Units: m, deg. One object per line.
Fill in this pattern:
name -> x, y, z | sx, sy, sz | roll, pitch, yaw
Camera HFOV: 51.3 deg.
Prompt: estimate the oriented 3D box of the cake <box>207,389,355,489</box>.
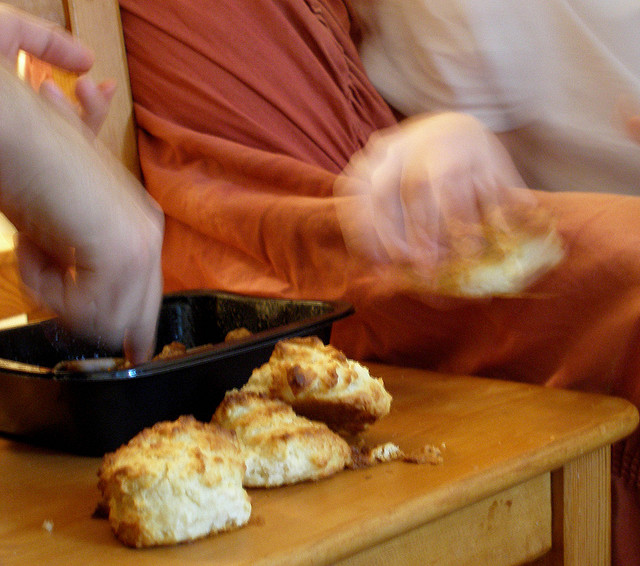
cake -> -0.042, 0.131, 0.615 | 0.141, 0.060, 0.153 | 16, -4, -28
